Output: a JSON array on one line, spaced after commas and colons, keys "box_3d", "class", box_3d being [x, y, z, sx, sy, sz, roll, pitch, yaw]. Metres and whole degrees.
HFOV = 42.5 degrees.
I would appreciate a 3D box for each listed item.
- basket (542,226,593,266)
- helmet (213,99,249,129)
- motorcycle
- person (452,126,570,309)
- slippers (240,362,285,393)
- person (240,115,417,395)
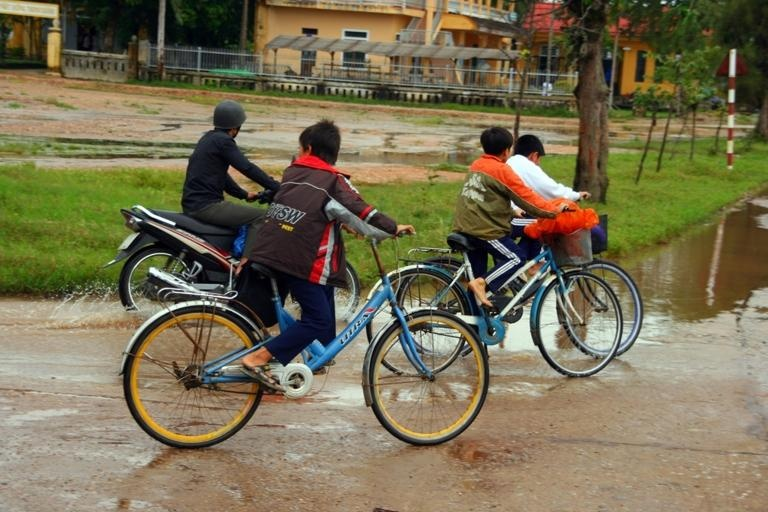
[{"box_3d": [2.022, -0.083, 10.833, 0.449, 0.334, 0.489, -22, 0, 6], "class": "basket"}, {"box_3d": [-1.737, -1.618, 11.287, 0.408, 0.287, 0.313, 21, 37, 20], "class": "helmet"}, {"box_3d": [-1.928, 0.029, 12.252, 3.031, 1.479, 1.287, 1, 8, -11], "class": "motorcycle"}, {"box_3d": [1.298, -0.283, 10.620, 1.072, 1.597, 0.532, 2, 12, 3], "class": "person"}, {"box_3d": [-1.115, 1.156, 9.432, 0.505, 0.189, 0.160, 29, 10, -14], "class": "slippers"}, {"box_3d": [-0.666, -0.010, 9.464, 1.341, 2.552, 0.663, 0, 12, -7], "class": "person"}]
